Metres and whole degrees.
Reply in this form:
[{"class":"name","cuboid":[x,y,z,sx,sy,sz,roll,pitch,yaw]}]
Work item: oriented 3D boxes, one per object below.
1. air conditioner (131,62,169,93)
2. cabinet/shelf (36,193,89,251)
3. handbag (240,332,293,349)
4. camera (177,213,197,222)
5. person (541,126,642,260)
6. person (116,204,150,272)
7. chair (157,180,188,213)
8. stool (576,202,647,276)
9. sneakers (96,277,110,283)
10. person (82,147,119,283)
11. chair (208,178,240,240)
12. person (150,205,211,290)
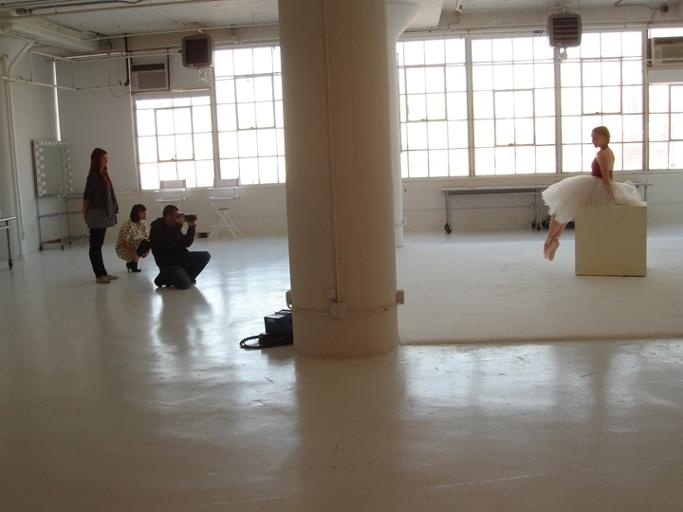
[{"class":"air conditioner","cuboid":[-4.598,-4.273,13.227,0.968,0.821,0.565,0,4,2]},{"class":"cabinet/shelf","cuboid":[-6.342,-0.776,12.349,0.462,0.998,1.241,0,7,4]},{"class":"handbag","cuboid":[-0.631,0.697,4.552,0.252,0.070,0.197,0,1,-17]},{"class":"camera","cuboid":[-2.024,-0.513,7.187,0.211,0.119,0.209,-1,5,2]},{"class":"person","cuboid":[3.286,-0.852,7.254,1.090,1.739,1.098,1,-2,38]},{"class":"person","cuboid":[-3.073,-0.282,8.226,0.544,0.997,0.397,1,15,-16]},{"class":"chair","cuboid":[-4.026,-1.490,13.141,0.657,0.879,0.680,-3,-8,-29]},{"class":"stool","cuboid":[3.406,-0.088,7.060,0.947,0.891,0.995,-1,-16,32]},{"class":"sneakers","cuboid":[-3.305,0.320,7.588,0.177,0.140,0.077,-1,2,1]},{"class":"person","cuboid":[-3.332,-0.579,7.612,0.422,1.811,0.679,-6,10,-25]},{"class":"chair","cuboid":[-2.820,-1.173,13.082,0.835,1.363,0.567,-1,9,5]},{"class":"person","cuboid":[-2.147,-0.149,7.317,0.723,1.123,0.676,-7,1,-22]}]
